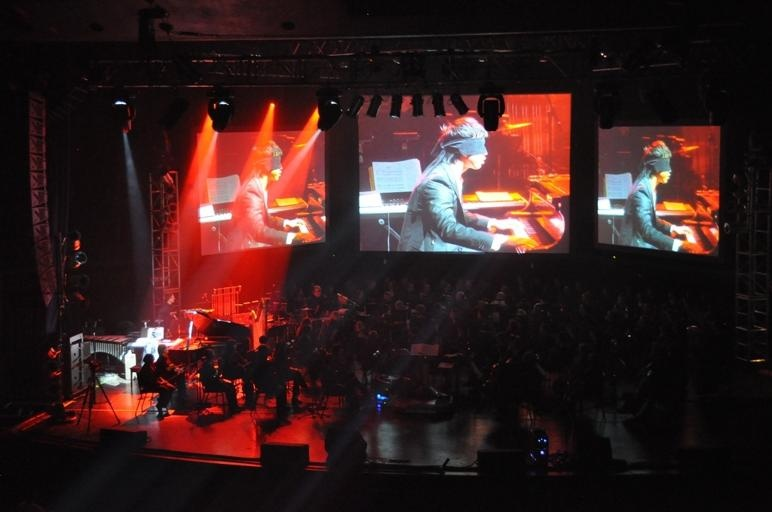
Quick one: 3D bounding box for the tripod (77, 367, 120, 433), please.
[{"bbox_3d":[-6.633,3.108,16.778,0.852,1.399,1.708,0,2,-23],"label":"tripod"}]
